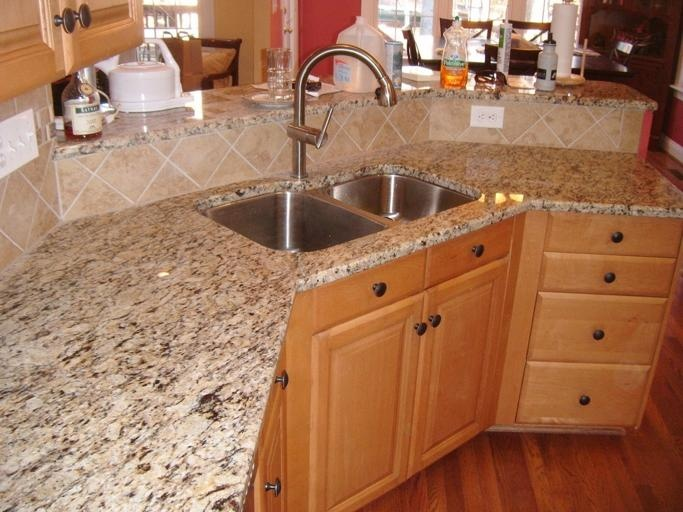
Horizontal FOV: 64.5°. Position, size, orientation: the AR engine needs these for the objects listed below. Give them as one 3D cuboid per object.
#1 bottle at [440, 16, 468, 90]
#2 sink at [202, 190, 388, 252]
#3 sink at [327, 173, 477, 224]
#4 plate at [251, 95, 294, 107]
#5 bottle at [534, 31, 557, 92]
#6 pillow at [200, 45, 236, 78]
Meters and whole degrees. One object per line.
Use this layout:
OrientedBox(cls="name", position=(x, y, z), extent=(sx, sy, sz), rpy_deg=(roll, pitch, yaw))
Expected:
OrientedBox(cls="bottle", position=(0.515, -0.913, 2.421), extent=(0.130, 0.301, 0.327), rpy_deg=(7, 28, 9))
OrientedBox(cls="sink", position=(-0.172, -0.122, 1.931), extent=(0.303, 0.137, 0.388), rpy_deg=(27, 33, 36))
OrientedBox(cls="sink", position=(0.241, -0.240, 2.080), extent=(0.281, 0.117, 0.345), rpy_deg=(-28, 41, -35))
OrientedBox(cls="plate", position=(-0.285, -0.593, 2.069), extent=(0.101, 0.012, 0.095), rpy_deg=(7, 24, 8))
OrientedBox(cls="bottle", position=(0.956, -0.897, 2.491), extent=(0.104, 0.234, 0.270), rpy_deg=(12, 29, 17))
OrientedBox(cls="pillow", position=(-1.380, -2.157, 5.971), extent=(0.415, 0.223, 0.350), rpy_deg=(-9, 29, -21))
